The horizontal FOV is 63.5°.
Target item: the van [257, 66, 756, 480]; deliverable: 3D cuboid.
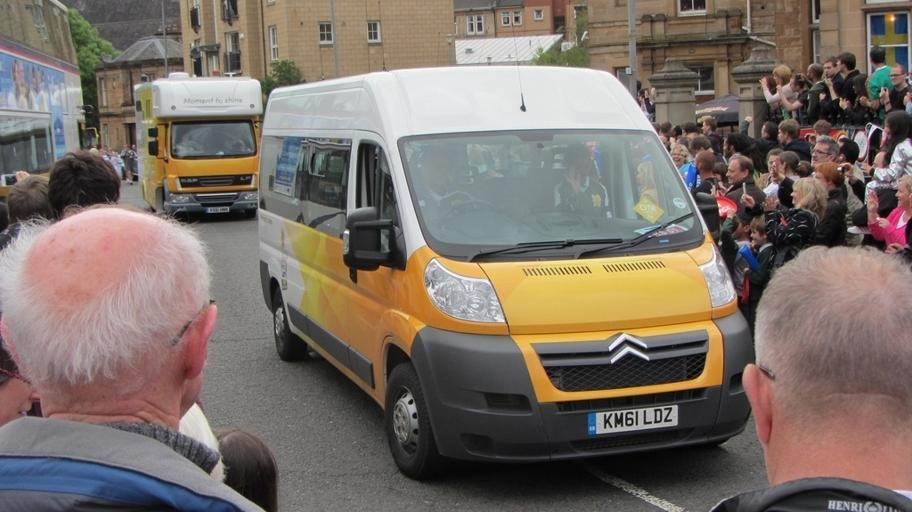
[{"bbox_3d":[0.587,0.045,6.130,2.664,2.359,4.978,-2,3,-23],"label":"van"}]
